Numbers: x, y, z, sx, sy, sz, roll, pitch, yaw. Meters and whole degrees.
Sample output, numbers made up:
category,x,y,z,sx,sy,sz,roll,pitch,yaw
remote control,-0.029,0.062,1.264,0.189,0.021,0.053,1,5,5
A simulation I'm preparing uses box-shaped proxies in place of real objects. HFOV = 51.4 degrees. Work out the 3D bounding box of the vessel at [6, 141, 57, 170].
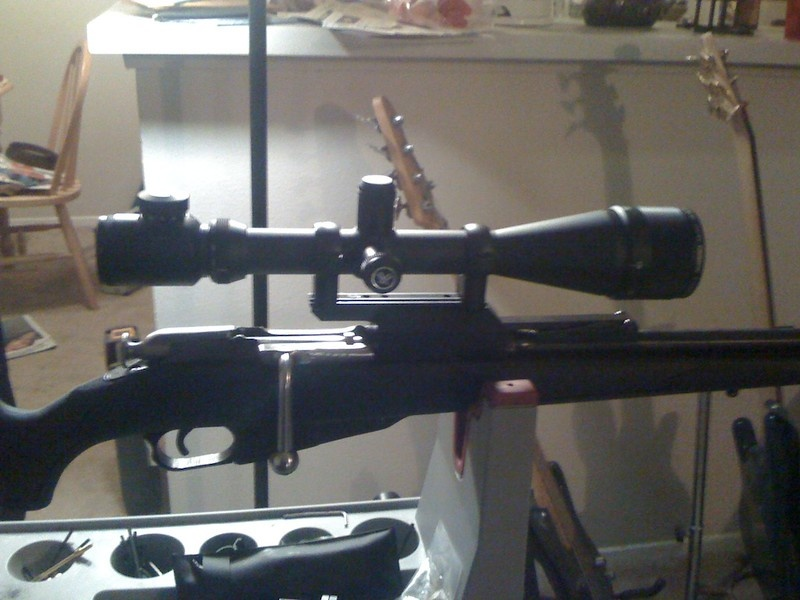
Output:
category,x,y,z,sx,sy,sz,roll,pitch,yaw
vessel,-0.981,-0.386,2.219,0.096,0.039,0.072,11,-26,-5

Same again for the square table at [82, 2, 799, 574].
category,x,y,z,sx,sy,sz,roll,pitch,yaw
square table,0.128,-0.031,1.827,1.844,1.226,0.425,1,-6,-6
